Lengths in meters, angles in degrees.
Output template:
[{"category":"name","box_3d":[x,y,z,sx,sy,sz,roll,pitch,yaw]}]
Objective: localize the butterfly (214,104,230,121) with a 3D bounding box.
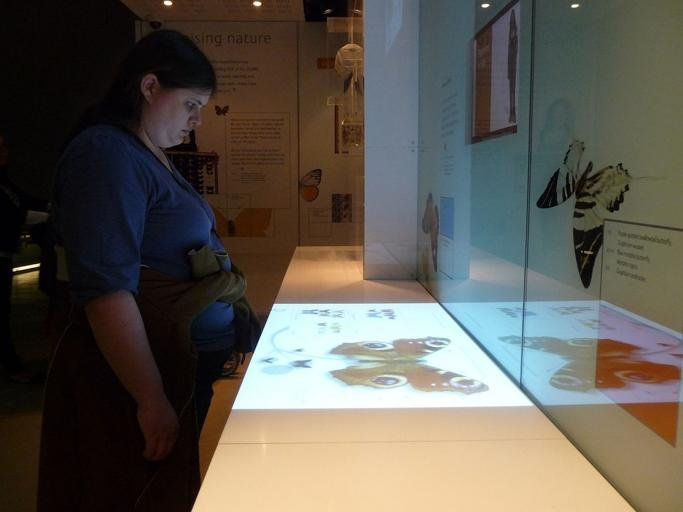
[{"category":"butterfly","box_3d":[-0.350,-0.422,1.442,0.041,0.035,0.006,-5,19,-10]}]
